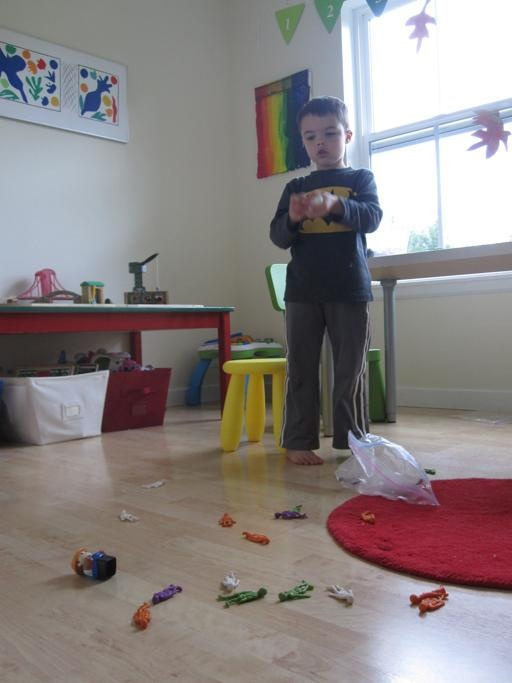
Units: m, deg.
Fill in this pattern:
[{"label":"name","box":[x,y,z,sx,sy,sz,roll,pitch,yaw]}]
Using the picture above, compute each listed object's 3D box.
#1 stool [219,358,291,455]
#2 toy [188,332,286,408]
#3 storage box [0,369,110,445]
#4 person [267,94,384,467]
[{"label":"stool","box":[-0.032,0.242,1.972,0.302,0.375,0.317,1,-5,-16]},{"label":"toy","box":[-0.163,0.212,3.443,0.513,0.319,0.518,-3,-1,15]},{"label":"storage box","box":[-0.841,0.268,2.272,0.281,0.276,0.383,-2,-2,32]},{"label":"person","box":[0.227,-0.189,1.688,0.349,1.155,0.661,-3,-3,2]}]
